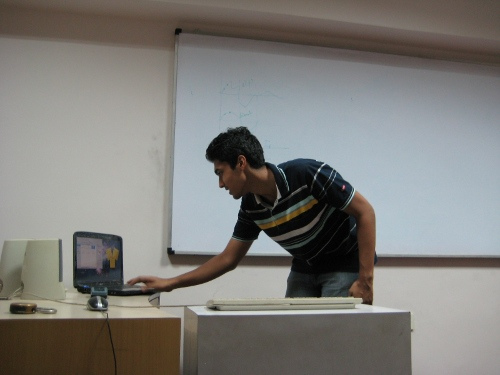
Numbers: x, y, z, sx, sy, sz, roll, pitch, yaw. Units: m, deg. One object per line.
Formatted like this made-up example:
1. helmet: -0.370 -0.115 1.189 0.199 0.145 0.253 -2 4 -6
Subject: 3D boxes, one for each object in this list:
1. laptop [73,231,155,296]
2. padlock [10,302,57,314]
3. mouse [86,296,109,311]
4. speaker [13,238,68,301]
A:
1. laptop: -0.772 0.415 3.451 0.270 0.351 0.376 -8 -10 36
2. padlock: -1.005 0.558 2.811 0.143 0.032 0.085 2 -4 -11
3. mouse: -0.712 0.546 2.869 0.108 0.062 0.097 0 -6 8
4. speaker: -1.152 0.416 3.359 0.281 0.360 0.194 3 16 -17
